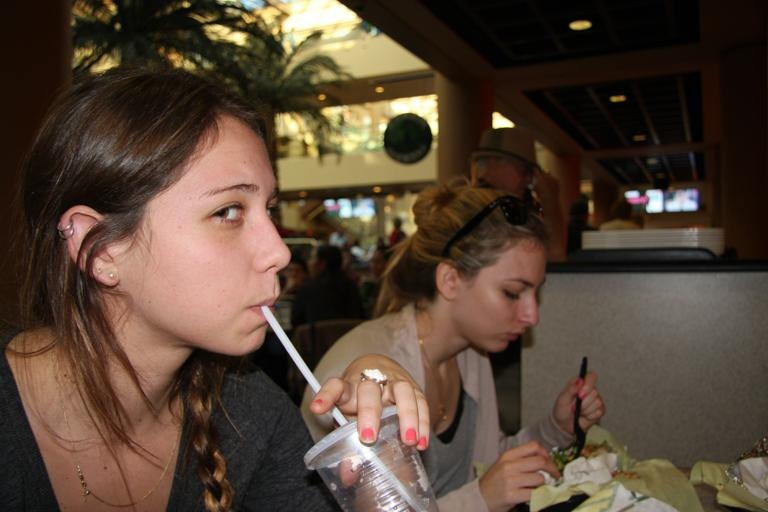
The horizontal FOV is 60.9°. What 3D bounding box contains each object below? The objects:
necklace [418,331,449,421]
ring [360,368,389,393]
[{"bbox_3d":[0.159,0.445,2.333,0.053,0.480,0.069,3,-14,-42],"label":"necklace"},{"bbox_3d":[-0.018,0.303,1.608,0.053,0.034,0.054,14,0,0],"label":"ring"}]
